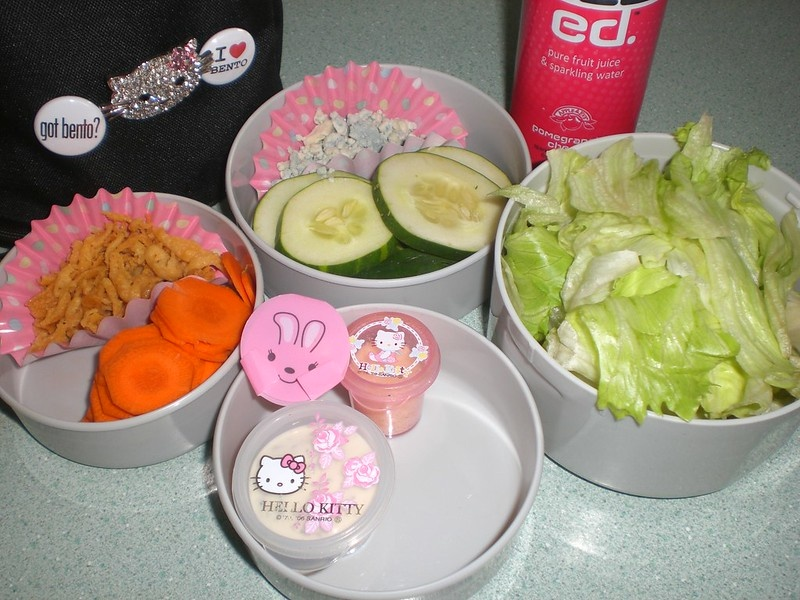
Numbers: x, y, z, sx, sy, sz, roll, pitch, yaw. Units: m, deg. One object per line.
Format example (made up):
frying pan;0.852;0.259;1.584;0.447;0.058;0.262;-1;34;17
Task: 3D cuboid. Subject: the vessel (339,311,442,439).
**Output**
vessel;-0.013;0.095;0.935;0.143;0.141;0.167;-2;64;0

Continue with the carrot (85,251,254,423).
carrot;-0.328;0.065;0.977;0.168;0.088;0.272;27;57;0

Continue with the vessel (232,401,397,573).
vessel;-0.122;0.261;0.903;0.207;0.090;0.237;11;38;10
